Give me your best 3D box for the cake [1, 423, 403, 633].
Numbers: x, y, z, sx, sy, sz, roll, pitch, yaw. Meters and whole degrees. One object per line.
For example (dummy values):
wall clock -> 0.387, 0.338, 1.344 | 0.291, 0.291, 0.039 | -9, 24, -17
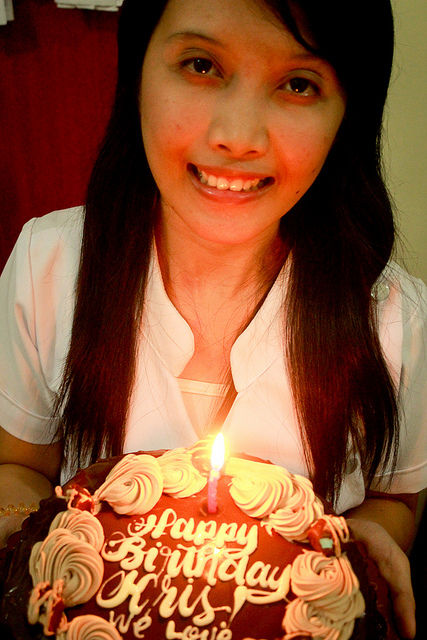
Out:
cake -> -0.043, 0.392, 1.129 | 0.738, 0.213, 0.461 | 2, 29, -3
